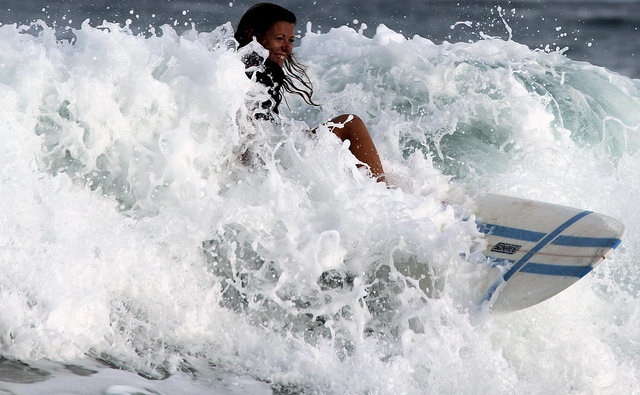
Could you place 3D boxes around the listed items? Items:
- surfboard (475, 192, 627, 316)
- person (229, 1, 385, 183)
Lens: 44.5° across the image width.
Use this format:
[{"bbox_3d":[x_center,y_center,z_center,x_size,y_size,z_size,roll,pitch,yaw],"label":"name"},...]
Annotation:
[{"bbox_3d":[1.604,0.341,5.448,0.869,0.527,0.940,6,34,-8],"label":"surfboard"},{"bbox_3d":[-0.158,-0.837,6.142,1.199,1.147,1.955,5,34,-10],"label":"person"}]
